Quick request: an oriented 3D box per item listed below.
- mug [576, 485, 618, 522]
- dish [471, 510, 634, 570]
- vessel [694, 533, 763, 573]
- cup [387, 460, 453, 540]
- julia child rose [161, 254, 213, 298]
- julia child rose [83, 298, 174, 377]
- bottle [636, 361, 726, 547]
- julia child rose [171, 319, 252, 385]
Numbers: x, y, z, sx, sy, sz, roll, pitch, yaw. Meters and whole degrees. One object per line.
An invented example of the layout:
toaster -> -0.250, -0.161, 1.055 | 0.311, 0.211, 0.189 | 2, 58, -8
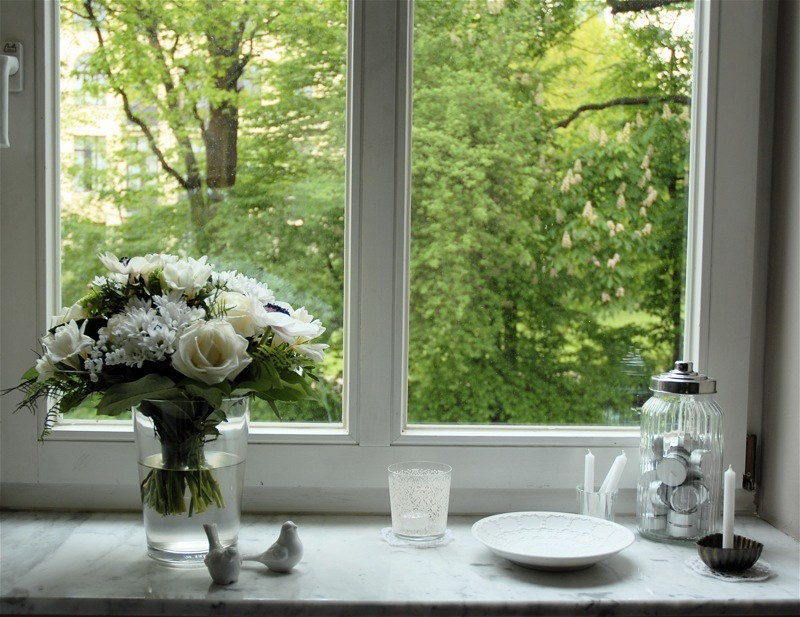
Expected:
mug -> 0.402, 0.397, 1.855 | 0.066, 0.061, 0.062 | -3, -6, 33
dish -> 0.294, 0.446, 1.764 | 0.308, 0.042, 0.206 | 0, 6, 4
vessel -> 0.627, 0.463, 1.731 | 0.109, 0.057, 0.091 | 6, 9, 44
cup -> 0.039, 0.371, 1.797 | 0.147, 0.148, 0.146 | -1, -5, 0
julia child rose -> -0.385, -0.058, 1.675 | 0.079, 0.068, 0.080 | -3, 2, 9
julia child rose -> -0.477, 0.055, 1.618 | 0.154, 0.126, 0.083 | -2, 7, -12
bottle -> 0.586, 0.290, 1.899 | 0.181, 0.349, 0.180 | -1, 7, 0
julia child rose -> -0.330, 0.078, 1.601 | 0.121, 0.108, 0.060 | -17, 6, -12
